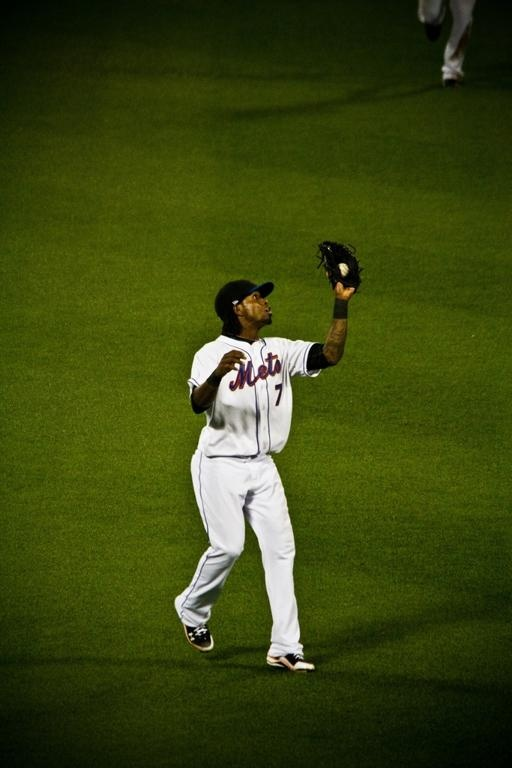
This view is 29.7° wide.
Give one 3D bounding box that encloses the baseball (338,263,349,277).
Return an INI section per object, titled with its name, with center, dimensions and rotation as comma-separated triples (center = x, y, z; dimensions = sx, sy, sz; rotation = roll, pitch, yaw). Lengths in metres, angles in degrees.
[baseball]
center = 0.326, -0.427, 3.609
dimensions = 0.036, 0.049, 0.021
rotation = 1, 6, -20

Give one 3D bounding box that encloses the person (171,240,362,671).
[person]
center = 0.034, 0.279, 3.702
dimensions = 0.626, 1.667, 0.302
rotation = 3, 6, -4
